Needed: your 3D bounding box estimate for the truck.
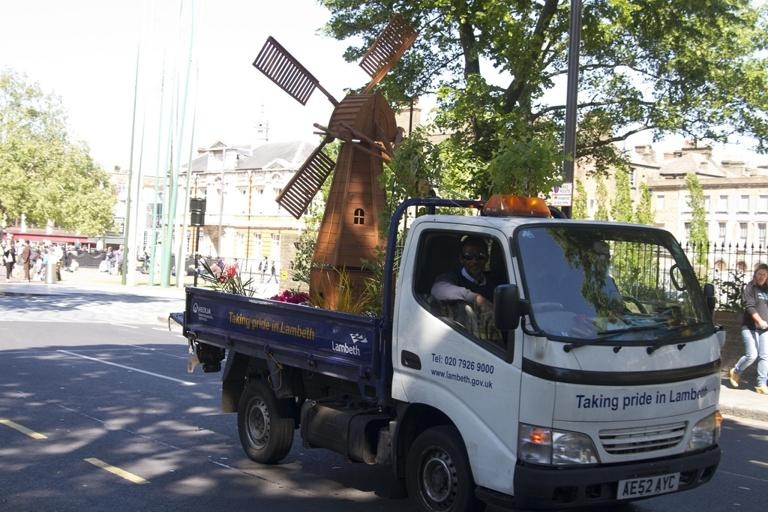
[{"bbox_3d":[0.130,1.083,8.832,2.772,2.979,6.328,1,-2,-36],"label":"truck"}]
